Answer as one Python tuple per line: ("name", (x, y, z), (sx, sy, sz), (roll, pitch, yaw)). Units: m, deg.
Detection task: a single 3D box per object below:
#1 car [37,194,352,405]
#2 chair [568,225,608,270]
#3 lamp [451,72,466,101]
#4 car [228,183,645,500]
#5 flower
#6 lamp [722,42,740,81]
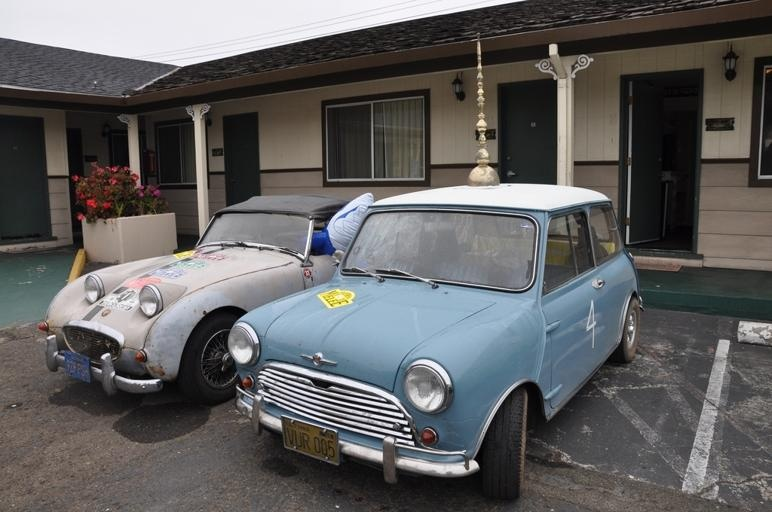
("car", (-1.775, 0.247, 5.495), (1.883, 1.485, 3.344), (4, 9, 36))
("chair", (1.942, -0.068, 4.454), (0.420, 0.455, 0.448), (2, 6, 29))
("lamp", (1.549, -3.559, 9.821), (0.269, 0.585, 0.165), (-2, 12, 0))
("car", (0.844, 0.498, 4.206), (2.070, 1.492, 3.295), (1, 5, 40))
("flower", (-6.598, -1.449, 11.142), (1.643, 1.241, 1.673), (2, 11, 37))
("lamp", (5.809, -3.241, 7.828), (0.234, 0.586, 0.159), (4, 13, 28))
